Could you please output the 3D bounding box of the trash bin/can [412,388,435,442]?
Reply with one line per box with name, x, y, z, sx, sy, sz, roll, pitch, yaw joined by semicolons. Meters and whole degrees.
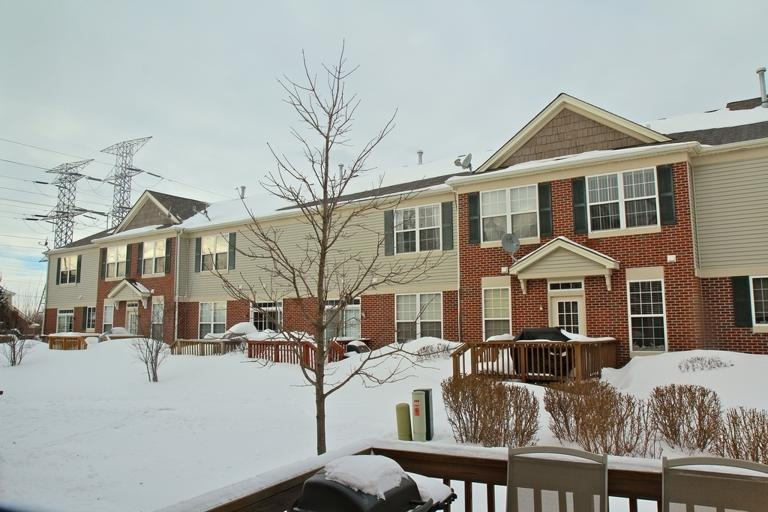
trash bin/can;0.914;3.710;13.544;0.478;1.166;0.549;-1;-9;2
